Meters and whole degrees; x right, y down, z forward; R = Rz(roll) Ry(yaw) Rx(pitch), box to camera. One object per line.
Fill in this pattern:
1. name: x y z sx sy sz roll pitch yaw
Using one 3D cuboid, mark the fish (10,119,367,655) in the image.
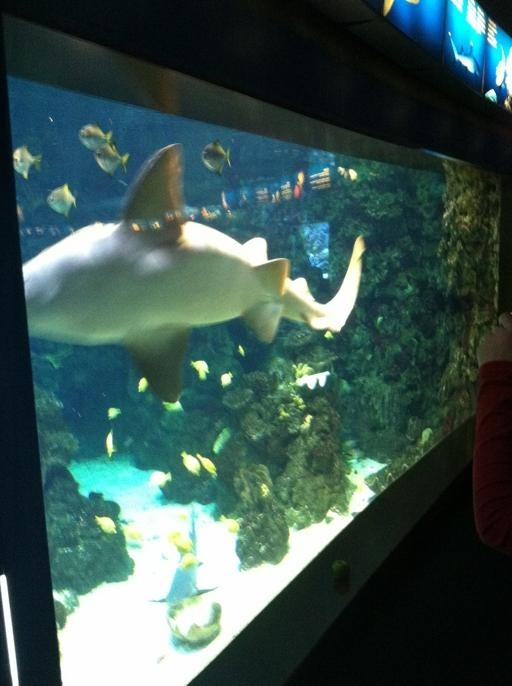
1. fish: -0.179 -0.076 1.767 0.391 0.672 1.375 -10 -5 24
